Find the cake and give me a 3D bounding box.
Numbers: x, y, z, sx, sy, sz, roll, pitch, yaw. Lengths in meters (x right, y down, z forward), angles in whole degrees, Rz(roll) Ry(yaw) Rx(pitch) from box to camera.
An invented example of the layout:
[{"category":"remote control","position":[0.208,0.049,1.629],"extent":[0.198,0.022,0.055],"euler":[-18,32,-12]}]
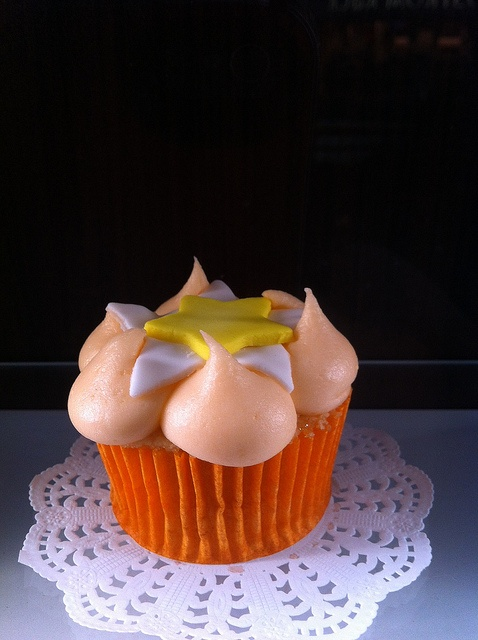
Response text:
[{"category":"cake","position":[-0.033,0.150,1.125],"extent":[0.447,0.321,0.402],"euler":[0,16,6]}]
